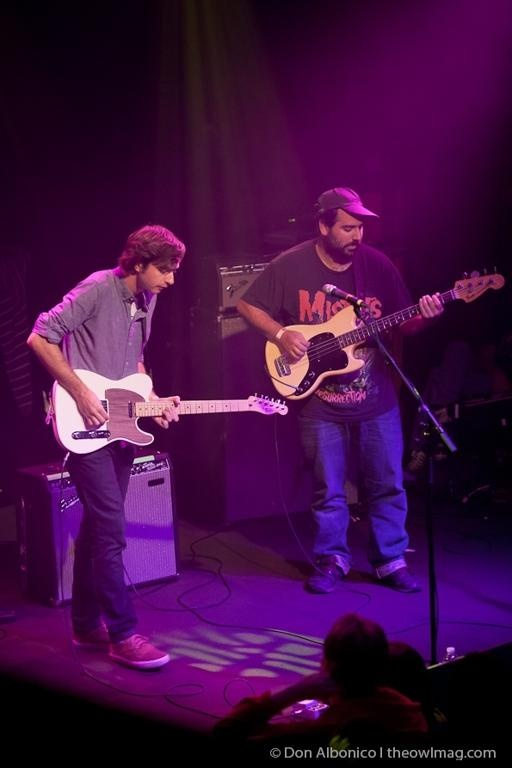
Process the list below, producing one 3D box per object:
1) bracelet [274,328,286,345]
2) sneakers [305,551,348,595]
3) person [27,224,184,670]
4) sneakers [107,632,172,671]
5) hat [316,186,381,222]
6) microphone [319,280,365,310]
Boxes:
[{"bbox_3d":[0.128,-0.261,3.521,0.018,0.065,0.068,29,-9,-27],"label":"bracelet"},{"bbox_3d":[0.393,1.049,3.582,0.119,0.120,0.304,35,10,13],"label":"sneakers"},{"bbox_3d":[-0.606,0.267,2.786,0.625,1.839,0.400,-2,2,-8],"label":"person"},{"bbox_3d":[-0.491,1.121,2.740,0.239,0.096,0.112,1,-1,31],"label":"sneakers"},{"bbox_3d":[0.495,-0.947,3.459,0.290,0.141,0.194,5,14,26],"label":"hat"},{"bbox_3d":[0.381,-0.362,2.740,0.160,0.112,0.351,-1,1,9],"label":"microphone"}]
